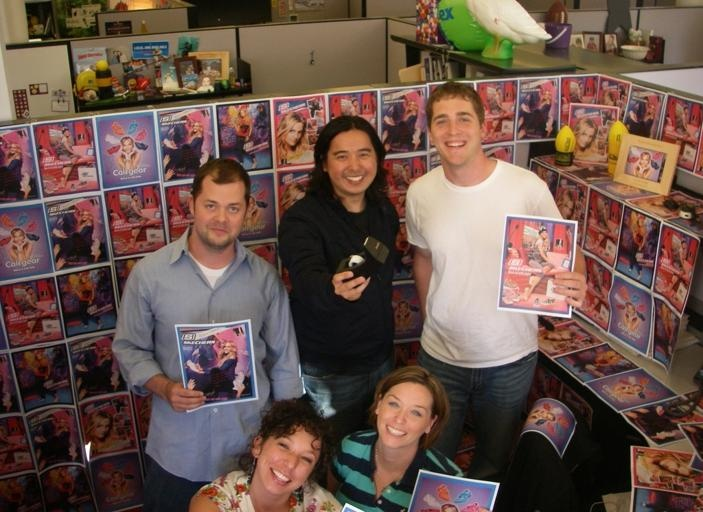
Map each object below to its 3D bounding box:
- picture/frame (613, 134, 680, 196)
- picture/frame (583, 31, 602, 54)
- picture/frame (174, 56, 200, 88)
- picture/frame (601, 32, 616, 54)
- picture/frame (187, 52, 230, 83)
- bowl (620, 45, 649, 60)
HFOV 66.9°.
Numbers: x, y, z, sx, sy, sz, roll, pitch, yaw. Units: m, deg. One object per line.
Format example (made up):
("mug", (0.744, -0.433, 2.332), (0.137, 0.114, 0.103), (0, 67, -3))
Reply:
("picture/frame", (1.588, -0.483, 2.845), (0.028, 0.252, 0.285), (-4, 23, -40))
("picture/frame", (2.359, -2.105, 5.220), (0.194, 0.184, 0.101), (2, 19, 16))
("picture/frame", (-1.741, -1.954, 5.630), (0.310, 0.452, 0.034), (-4, 13, -11))
("picture/frame", (2.511, -2.064, 5.166), (0.137, 0.176, 0.062), (4, 20, 22))
("picture/frame", (-1.528, -2.012, 5.675), (0.336, 0.291, 0.026), (-2, 9, -10))
("bowl", (2.659, -1.926, 5.032), (0.250, 0.115, 0.253), (0, 32, 0))
